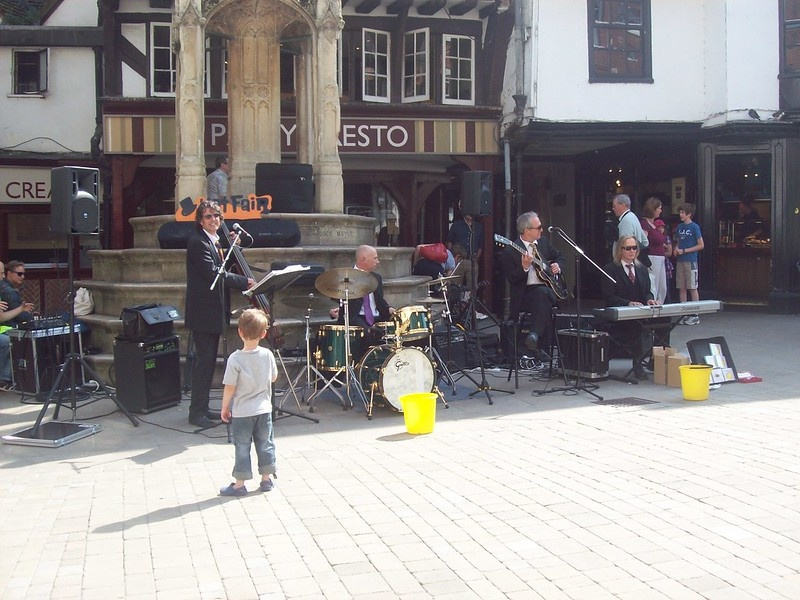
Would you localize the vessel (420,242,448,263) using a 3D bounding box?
[{"bbox_3d":[0.526,-0.766,15.999,0.281,0.163,0.379,10,-8,-13],"label":"vessel"}]

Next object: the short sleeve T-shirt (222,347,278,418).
[{"bbox_3d":[-1.382,0.764,9.227,0.493,0.589,0.289,-5,15,-19],"label":"short sleeve T-shirt"}]

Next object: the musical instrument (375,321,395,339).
[{"bbox_3d":[-0.161,0.356,11.509,0.200,0.206,0.203,0,-3,-2],"label":"musical instrument"}]

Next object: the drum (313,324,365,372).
[{"bbox_3d":[-0.696,0.563,11.665,0.530,0.500,0.532,1,-3,-3],"label":"drum"}]

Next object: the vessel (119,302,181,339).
[{"bbox_3d":[-2.984,0.266,11.681,0.434,0.257,0.494,-2,1,31],"label":"vessel"}]

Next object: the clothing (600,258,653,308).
[{"bbox_3d":[3.015,-0.207,13.368,0.525,0.691,0.655,-1,-4,-6],"label":"clothing"}]

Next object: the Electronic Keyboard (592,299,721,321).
[{"bbox_3d":[3.280,0.165,12.701,1.629,0.275,0.366,-5,15,-16],"label":"Electronic Keyboard"}]

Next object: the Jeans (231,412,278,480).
[{"bbox_3d":[-1.357,1.361,9.226,0.412,0.608,0.335,-4,15,-15],"label":"Jeans"}]

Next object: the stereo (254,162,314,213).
[{"bbox_3d":[-1.652,-1.711,14.974,0.908,0.811,0.509,0,8,9],"label":"stereo"}]

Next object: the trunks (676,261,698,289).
[{"bbox_3d":[4.949,-0.433,17.135,0.283,0.496,0.452,3,-4,-27],"label":"trunks"}]

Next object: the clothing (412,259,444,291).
[{"bbox_3d":[0.478,-0.403,15.979,0.522,0.533,0.401,8,-3,22],"label":"clothing"}]

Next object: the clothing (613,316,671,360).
[{"bbox_3d":[3.193,0.473,13.219,0.803,0.524,0.535,-3,8,-27],"label":"clothing"}]

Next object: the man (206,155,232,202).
[{"bbox_3d":[-2.886,-1.945,15.841,0.352,0.685,0.936,-3,15,-9],"label":"man"}]

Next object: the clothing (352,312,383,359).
[{"bbox_3d":[-0.356,0.481,11.913,0.406,0.417,0.412,0,1,2],"label":"clothing"}]

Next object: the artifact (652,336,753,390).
[{"bbox_3d":[3.784,0.776,12.685,0.655,0.430,1.008,-2,1,-21],"label":"artifact"}]

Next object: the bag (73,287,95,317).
[{"bbox_3d":[-4.322,0.039,13.604,0.327,0.387,0.206,-8,-11,20],"label":"bag"}]

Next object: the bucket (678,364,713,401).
[{"bbox_3d":[3.518,1.001,11.844,0.384,0.342,0.367,-1,0,0],"label":"bucket"}]

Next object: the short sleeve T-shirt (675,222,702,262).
[{"bbox_3d":[4.950,-0.983,17.124,0.465,0.669,0.343,7,16,25],"label":"short sleeve T-shirt"}]

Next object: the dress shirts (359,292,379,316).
[{"bbox_3d":[-0.361,0.056,12.482,0.209,0.290,0.091,-2,-3,0],"label":"dress shirts"}]

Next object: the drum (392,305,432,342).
[{"bbox_3d":[0.140,0.271,11.577,0.407,0.306,0.405,-4,-10,-1],"label":"drum"}]

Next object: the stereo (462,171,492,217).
[{"bbox_3d":[1.108,-1.494,14.083,0.398,0.699,0.378,2,-3,-43],"label":"stereo"}]

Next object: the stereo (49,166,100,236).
[{"bbox_3d":[-3.738,-1.182,11.602,0.435,0.714,0.402,-3,16,-38],"label":"stereo"}]

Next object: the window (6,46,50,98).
[{"bbox_3d":[-7.657,-4.680,20.479,1.012,1.367,0.682,0,4,-15],"label":"window"}]

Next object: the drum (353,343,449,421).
[{"bbox_3d":[-0.176,0.975,11.598,0.886,1.018,1.331,-1,-1,12],"label":"drum"}]

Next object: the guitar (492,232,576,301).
[{"bbox_3d":[1.731,-0.436,13.038,0.130,0.593,1.265,-22,-42,32],"label":"guitar"}]

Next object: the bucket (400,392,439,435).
[{"bbox_3d":[0.242,1.229,10.850,0.495,0.403,0.486,-2,-4,0],"label":"bucket"}]
